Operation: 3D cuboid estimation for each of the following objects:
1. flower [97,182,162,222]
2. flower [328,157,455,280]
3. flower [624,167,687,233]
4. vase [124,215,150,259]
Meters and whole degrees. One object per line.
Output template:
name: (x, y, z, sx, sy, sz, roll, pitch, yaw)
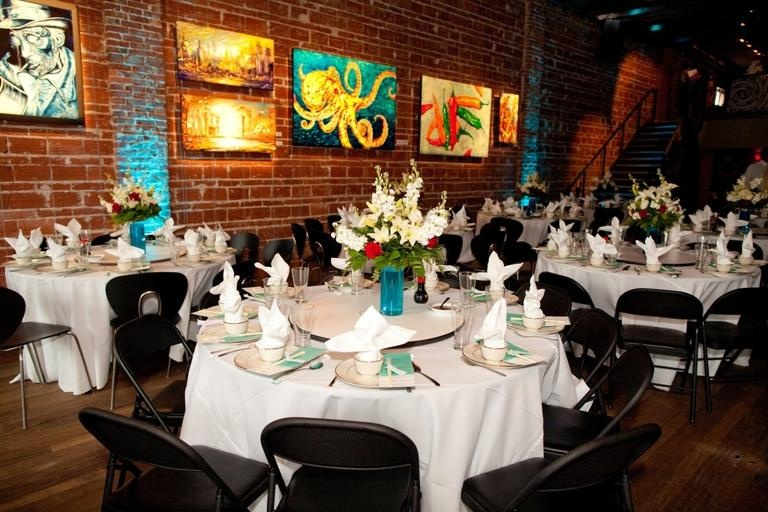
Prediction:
flower: (-2.490, -0.561, 5.368, 0.369, 0.316, 0.334, -4, -2, 32)
flower: (0.025, -0.063, 3.591, 0.667, 0.706, 0.639, -7, -15, 0)
flower: (2.993, -0.460, 5.683, 0.477, 0.570, 0.477, -4, 3, -23)
vase: (-2.526, -0.180, 5.378, 0.232, 0.316, 0.231, -6, -6, 31)
